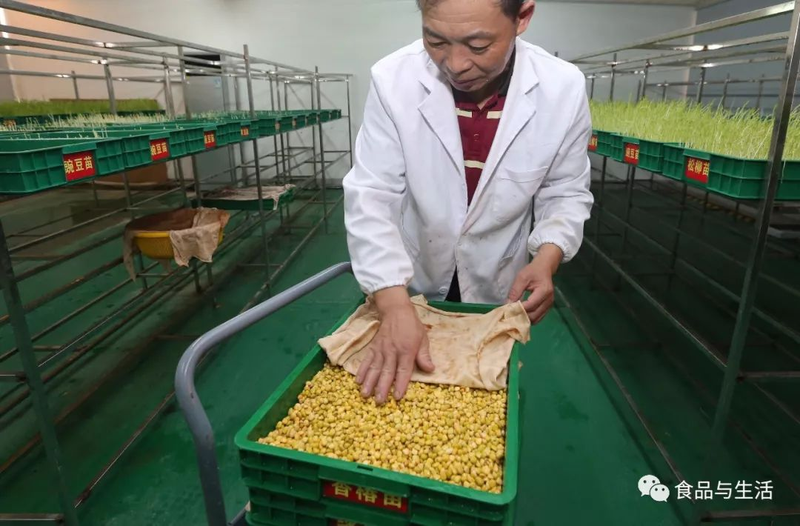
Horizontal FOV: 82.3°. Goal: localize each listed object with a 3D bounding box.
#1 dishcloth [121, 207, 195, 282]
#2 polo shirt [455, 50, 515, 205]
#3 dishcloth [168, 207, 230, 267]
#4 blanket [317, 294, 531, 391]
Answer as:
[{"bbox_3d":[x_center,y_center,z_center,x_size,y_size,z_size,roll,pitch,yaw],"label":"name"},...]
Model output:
[{"bbox_3d":[-2.325,-0.204,4.444,0.751,0.574,0.693,-5,-1,-10],"label":"dishcloth"},{"bbox_3d":[0.464,-0.741,2.504,0.336,0.718,0.157,11,16,18],"label":"polo shirt"},{"bbox_3d":[-1.840,-0.233,4.357,0.511,0.264,0.590,-6,30,9],"label":"dishcloth"},{"bbox_3d":[0.139,0.393,2.188,0.618,0.191,0.551,3,29,12],"label":"blanket"}]
